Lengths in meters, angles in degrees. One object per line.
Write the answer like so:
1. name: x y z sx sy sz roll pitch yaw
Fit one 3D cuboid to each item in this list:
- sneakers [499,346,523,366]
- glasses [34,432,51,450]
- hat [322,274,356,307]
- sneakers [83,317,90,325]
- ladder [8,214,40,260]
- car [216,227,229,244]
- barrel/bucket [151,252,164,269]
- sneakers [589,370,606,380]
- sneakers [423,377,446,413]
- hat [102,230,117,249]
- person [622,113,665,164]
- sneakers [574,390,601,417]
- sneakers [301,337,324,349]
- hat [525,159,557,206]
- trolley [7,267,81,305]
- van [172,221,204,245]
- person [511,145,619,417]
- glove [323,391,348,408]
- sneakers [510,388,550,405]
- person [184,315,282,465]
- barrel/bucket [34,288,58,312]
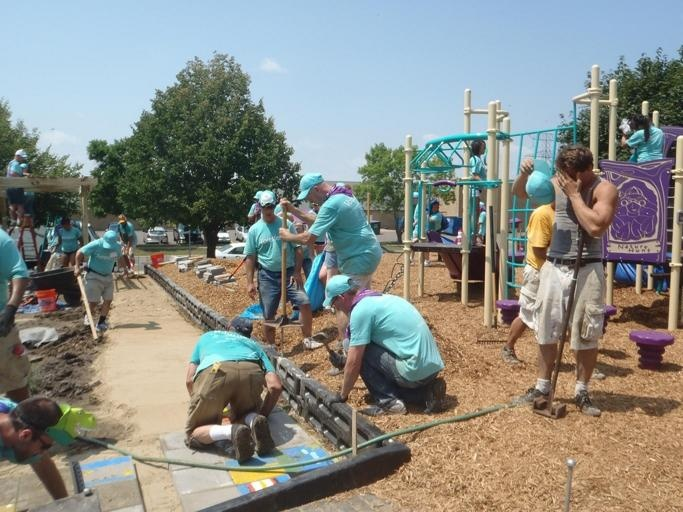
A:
1. sneakers: 1.955 1.156 7.536 0.133 0.111 0.265 9 6 -24
2. glasses: -2.548 1.616 5.658 0.148 0.118 0.119 24 7 33
3. hat: -0.038 0.337 6.952 0.418 0.236 0.294 -31 -5 26
4. sneakers: -4.457 1.148 11.491 0.120 0.216 0.173 -3 -1 -33
5. ladder: -7.224 -0.450 14.922 0.517 1.160 1.448 1 0 -39
6. car: -8.092 -1.383 44.794 0.957 0.857 2.450 -2 2 -18
7. barrel/bucket: -5.630 0.161 20.080 0.275 0.463 1.148 -4 9 -12
8. sneakers: 2.800 1.330 7.244 0.100 0.130 0.292 0 -13 -9
9. sneakers: 0.950 1.427 6.589 0.142 0.412 0.165 13 -11 -34
10. hat: -3.941 -0.316 11.140 0.227 0.328 0.170 -7 -23 -45
11. person: 4.820 -1.894 10.468 0.597 0.721 1.135 1 10 22
12. sneakers: 2.323 1.410 6.263 0.123 0.159 0.332 -4 -2 -12
13. sneakers: -0.374 1.154 8.697 0.304 0.138 0.116 -7 -6 41
14. hat: 2.177 -0.802 6.991 0.284 0.289 0.481 -2 45 25
15. trolley: -6.195 0.687 14.319 1.285 0.640 0.935 0 -18 23
16. van: -9.405 -1.400 40.604 1.813 1.456 4.123 -1 8 -24
17. person: 2.177 0.233 6.166 0.729 2.534 0.690 6 12 43
18. glove: -0.057 1.441 6.558 0.189 0.062 0.146 -10 16 -38
19. sneakers: 1.839 1.386 6.411 0.347 0.157 0.144 -5 -9 17
20. person: -1.092 1.370 6.743 1.017 1.036 2.383 2 3 -14
21. barrel/bucket: -6.143 0.930 13.657 0.422 0.488 0.437 -4 -6 0
